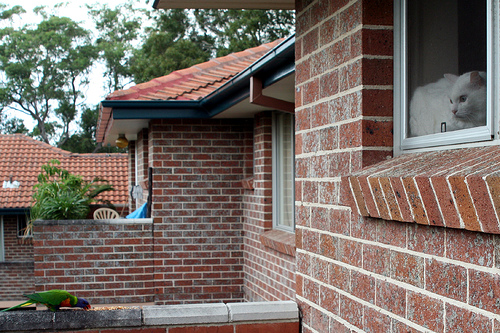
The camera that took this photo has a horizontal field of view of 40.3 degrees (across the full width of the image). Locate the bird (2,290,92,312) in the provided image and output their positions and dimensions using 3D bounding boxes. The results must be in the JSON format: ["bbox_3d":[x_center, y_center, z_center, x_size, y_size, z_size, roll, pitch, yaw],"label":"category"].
[{"bbox_3d":[-1.909,1.319,6.704,0.644,0.202,0.276,0,-9,-13],"label":"bird"}]
